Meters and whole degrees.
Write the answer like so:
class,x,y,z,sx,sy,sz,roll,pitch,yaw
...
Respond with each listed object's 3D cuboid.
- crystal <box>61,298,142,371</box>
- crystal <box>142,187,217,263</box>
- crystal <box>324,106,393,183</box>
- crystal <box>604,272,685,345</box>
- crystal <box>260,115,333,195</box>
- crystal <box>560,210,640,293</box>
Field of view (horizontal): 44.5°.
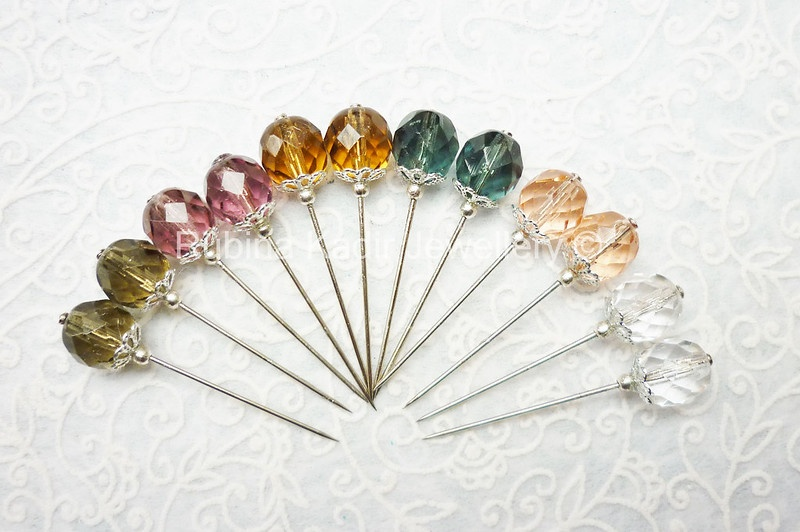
class,x,y,z,sx,sy,sz,roll,pitch,yaw
crystal,-0.992,0.252,3.327,0.266,0.190,0.194,28,70,-2
crystal,-0.738,-0.144,3.363,0.264,0.200,0.198,43,78,-7
crystal,-0.166,-0.428,3.432,0.248,0.255,0.300,-9,78,-4
crystal,0.798,0.177,3.307,0.212,0.168,0.167,-22,32,-5
crystal,-0.365,-0.378,3.309,0.215,0.228,0.270,-16,80,-1
crystal,0.672,-0.056,3.276,0.283,0.102,0.209,-40,85,12
